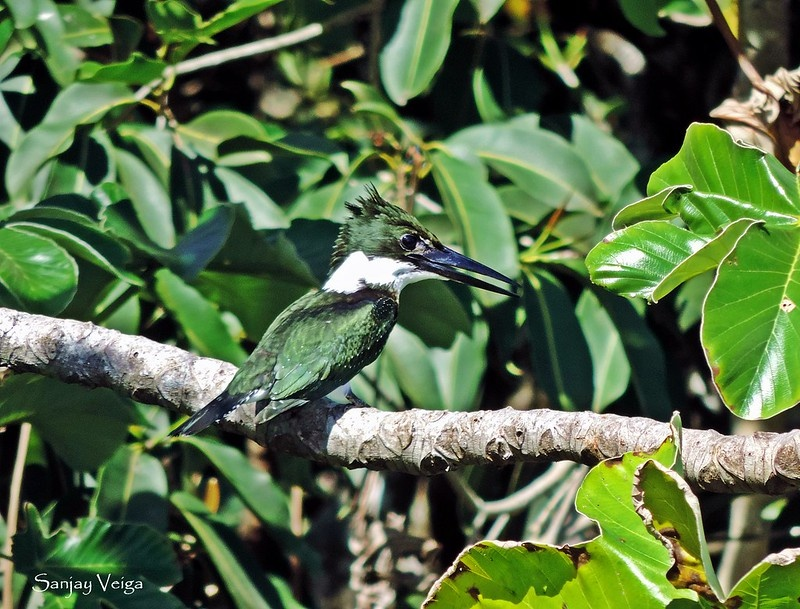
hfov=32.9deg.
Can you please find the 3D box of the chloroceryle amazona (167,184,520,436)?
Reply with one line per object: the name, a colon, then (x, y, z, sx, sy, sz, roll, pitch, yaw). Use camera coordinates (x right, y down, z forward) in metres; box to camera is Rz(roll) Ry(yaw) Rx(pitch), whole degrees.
chloroceryle amazona: (-0.217, 0.030, 5.430, 1.348, 0.845, 0.462, -2, 15, -21)
